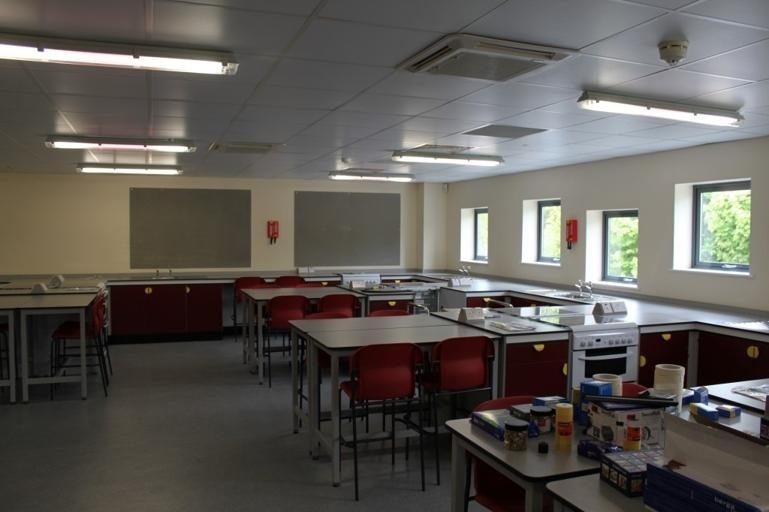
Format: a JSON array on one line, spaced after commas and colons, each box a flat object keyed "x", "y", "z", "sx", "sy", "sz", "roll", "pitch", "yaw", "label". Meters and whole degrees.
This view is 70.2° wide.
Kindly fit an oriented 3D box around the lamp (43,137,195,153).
[{"x": -3.084, "y": -1.290, "z": 6.352, "sx": 0.941, "sy": 0.073, "sz": 0.162, "roll": 1, "pitch": -24, "yaw": -19, "label": "lamp"}]

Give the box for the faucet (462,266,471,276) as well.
[{"x": 1.527, "y": 0.277, "z": 10.257, "sx": 0.170, "sy": 0.199, "sz": 0.149, "roll": -1, "pitch": 5, "yaw": -12, "label": "faucet"}]

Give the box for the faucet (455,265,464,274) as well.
[{"x": 1.455, "y": 0.275, "z": 10.581, "sx": 0.146, "sy": 0.118, "sz": 0.104, "roll": -9, "pitch": 15, "yaw": -41, "label": "faucet"}]

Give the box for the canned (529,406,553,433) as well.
[{"x": 0.895, "y": 0.930, "z": 3.111, "sx": 0.135, "sy": 0.124, "sz": 0.133, "roll": 0, "pitch": 4, "yaw": -3, "label": "canned"}]

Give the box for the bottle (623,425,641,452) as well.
[{"x": 1.314, "y": 0.959, "z": 2.890, "sx": 0.100, "sy": 0.124, "sz": 0.041, "roll": 0, "pitch": 6, "yaw": -7, "label": "bottle"}]

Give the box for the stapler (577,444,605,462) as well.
[{"x": 1.095, "y": 1.043, "z": 2.910, "sx": 0.080, "sy": 0.057, "sz": 0.112, "roll": -1, "pitch": 1, "yaw": -30, "label": "stapler"}]

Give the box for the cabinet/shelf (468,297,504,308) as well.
[{"x": 1.412, "y": 0.664, "z": 7.654, "sx": 0.336, "sy": 0.075, "sz": 0.293, "roll": 1, "pitch": 0, "yaw": -19, "label": "cabinet/shelf"}]

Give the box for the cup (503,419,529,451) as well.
[{"x": 0.706, "y": 0.971, "z": 2.985, "sx": 0.139, "sy": 0.146, "sz": 0.142, "roll": 0, "pitch": 0, "yaw": 0, "label": "cup"}]

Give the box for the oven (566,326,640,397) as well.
[{"x": 2.098, "y": 1.028, "z": 5.505, "sx": 0.772, "sy": 0.658, "sz": 0.576, "roll": -2, "pitch": 3, "yaw": -20, "label": "oven"}]

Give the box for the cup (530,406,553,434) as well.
[{"x": 0.896, "y": 0.932, "z": 3.111, "sx": 0.137, "sy": 0.126, "sz": 0.136, "roll": 0, "pitch": 2, "yaw": 0, "label": "cup"}]

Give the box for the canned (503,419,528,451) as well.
[{"x": 0.714, "y": 0.977, "z": 2.969, "sx": 0.139, "sy": 0.141, "sz": 0.138, "roll": 0, "pitch": 1, "yaw": 9, "label": "canned"}]
